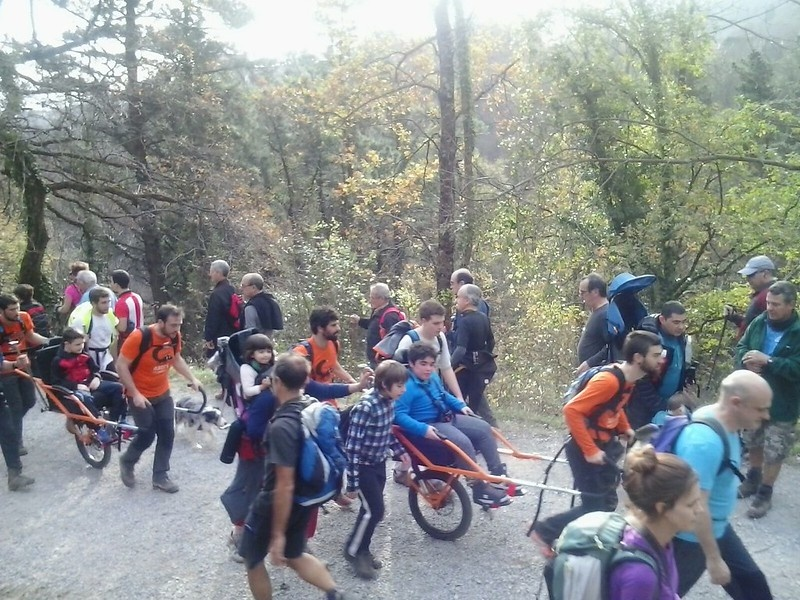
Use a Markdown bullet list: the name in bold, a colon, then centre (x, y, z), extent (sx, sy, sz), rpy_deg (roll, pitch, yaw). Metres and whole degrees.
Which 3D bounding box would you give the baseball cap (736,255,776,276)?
- **baseball cap**: centre (4.687, -0.456, 9.418), extent (0.403, 0.216, 0.262), rpy_deg (0, 0, 9)

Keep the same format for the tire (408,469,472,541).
- **tire**: centre (0.466, 2.331, 8.160), extent (0.751, 0.777, 0.172), rpy_deg (-11, 7, 30)

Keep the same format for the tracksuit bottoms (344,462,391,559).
- **tracksuit bottoms**: centre (-0.374, 2.253, 7.708), extent (0.425, 0.992, 0.289), rpy_deg (0, 6, -3)

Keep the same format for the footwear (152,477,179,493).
- **footwear**: centre (-3.016, 2.366, 9.266), extent (0.343, 0.145, 0.162), rpy_deg (3, 7, 26)

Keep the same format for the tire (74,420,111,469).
- **tire**: centre (-4.159, 1.952, 9.766), extent (0.615, 0.610, 0.163), rpy_deg (32, 27, 21)

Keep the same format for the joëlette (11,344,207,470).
- **joëlette**: centre (-4.219, 1.438, 10.438), extent (2.888, 1.702, 1.401), rpy_deg (1, 6, 16)

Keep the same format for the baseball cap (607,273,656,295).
- **baseball cap**: centre (2.857, -0.186, 9.137), extent (0.331, 0.154, 0.464), rpy_deg (-4, -14, -29)

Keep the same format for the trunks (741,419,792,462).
- **trunks**: centre (4.485, 1.687, 8.773), extent (0.498, 0.252, 0.646), rpy_deg (-8, 9, -23)

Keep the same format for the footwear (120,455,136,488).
- **footwear**: centre (-3.502, 2.235, 9.346), extent (0.183, 0.441, 0.158), rpy_deg (-4, 5, 5)

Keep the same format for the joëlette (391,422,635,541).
- **joëlette**: centre (1.224, 2.067, 8.031), extent (2.320, 1.244, 1.215), rpy_deg (-2, 1, 24)

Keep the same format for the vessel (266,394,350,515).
- **vessel**: centre (-0.874, 1.446, 6.761), extent (0.716, 0.996, 0.313), rpy_deg (-1, 6, -8)

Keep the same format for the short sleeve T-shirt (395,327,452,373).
- **short sleeve T-shirt**: centre (0.253, 0.581, 8.447), extent (0.272, 0.471, 0.475), rpy_deg (-8, 16, -44)

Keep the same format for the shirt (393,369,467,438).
- **shirt**: centre (0.272, 1.175, 8.168), extent (0.601, 0.715, 1.061), rpy_deg (-4, 7, 34)
